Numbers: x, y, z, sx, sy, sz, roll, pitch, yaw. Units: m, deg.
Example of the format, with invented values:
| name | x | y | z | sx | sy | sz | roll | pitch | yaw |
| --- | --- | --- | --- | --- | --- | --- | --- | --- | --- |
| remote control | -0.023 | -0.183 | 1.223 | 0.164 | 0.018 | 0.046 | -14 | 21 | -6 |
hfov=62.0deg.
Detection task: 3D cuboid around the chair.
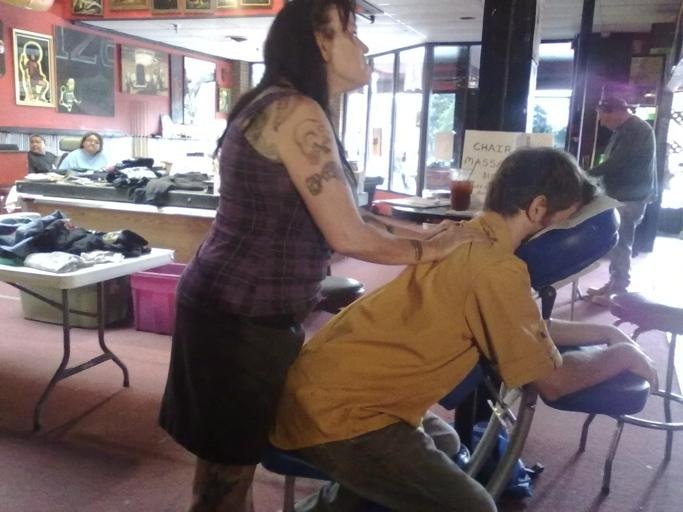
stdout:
| name | x | y | z | sx | sy | sz | roll | pitch | yaw |
| --- | --- | --- | --- | --- | --- | --- | --- | --- | --- |
| chair | 0.407 | 0.334 | 2.355 | 1.479 | 1.265 | 1.053 | 4 | -1 | -3 |
